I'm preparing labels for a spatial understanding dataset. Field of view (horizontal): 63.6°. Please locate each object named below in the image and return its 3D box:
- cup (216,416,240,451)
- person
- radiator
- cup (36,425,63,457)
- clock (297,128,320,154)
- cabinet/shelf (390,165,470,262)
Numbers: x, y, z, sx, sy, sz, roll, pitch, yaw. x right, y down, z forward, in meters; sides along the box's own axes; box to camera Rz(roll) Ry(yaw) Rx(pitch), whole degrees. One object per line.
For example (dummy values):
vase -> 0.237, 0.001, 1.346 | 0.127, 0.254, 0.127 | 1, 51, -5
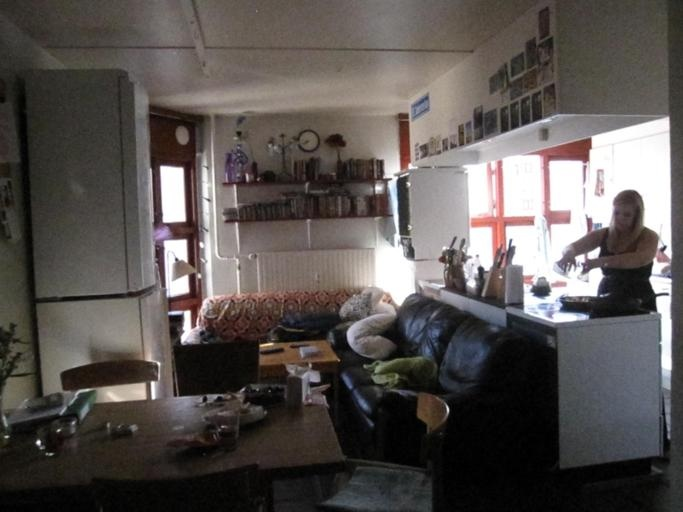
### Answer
cup -> -0.561, 0.870, 2.735 | 0.114, 0.180, 0.148 | 2, -3, -10
person -> 1.911, 0.539, 3.786 | 0.754, 1.839, 1.214 | 4, 16, 24
radiator -> -0.334, 0.239, 6.990 | 1.340, 0.563, 0.306 | -2, 6, -5
cup -> -1.459, 0.921, 2.747 | 0.117, 0.087, 0.113 | 2, 5, 0
clock -> -0.413, -1.464, 7.079 | 0.278, 0.276, 0.280 | 6, 27, 1
cabinet/shelf -> 1.085, -0.492, 6.423 | 0.884, 1.085, 1.101 | -2, 0, -3
